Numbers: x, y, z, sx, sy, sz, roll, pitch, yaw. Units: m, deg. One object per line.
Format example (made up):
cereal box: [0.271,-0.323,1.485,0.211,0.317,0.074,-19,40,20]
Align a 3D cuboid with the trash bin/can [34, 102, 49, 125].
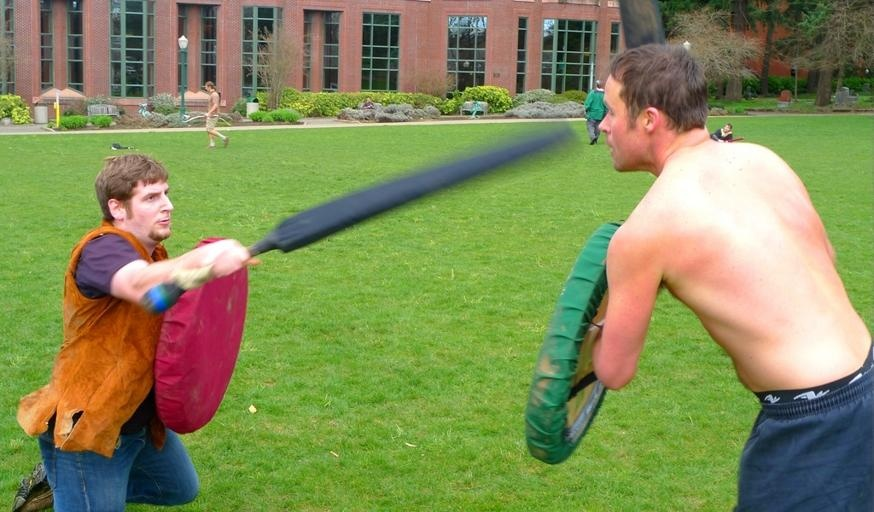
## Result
trash bin/can: [-15.903,-5.680,30.757,0.438,0.761,0.976,-5,9,-33]
